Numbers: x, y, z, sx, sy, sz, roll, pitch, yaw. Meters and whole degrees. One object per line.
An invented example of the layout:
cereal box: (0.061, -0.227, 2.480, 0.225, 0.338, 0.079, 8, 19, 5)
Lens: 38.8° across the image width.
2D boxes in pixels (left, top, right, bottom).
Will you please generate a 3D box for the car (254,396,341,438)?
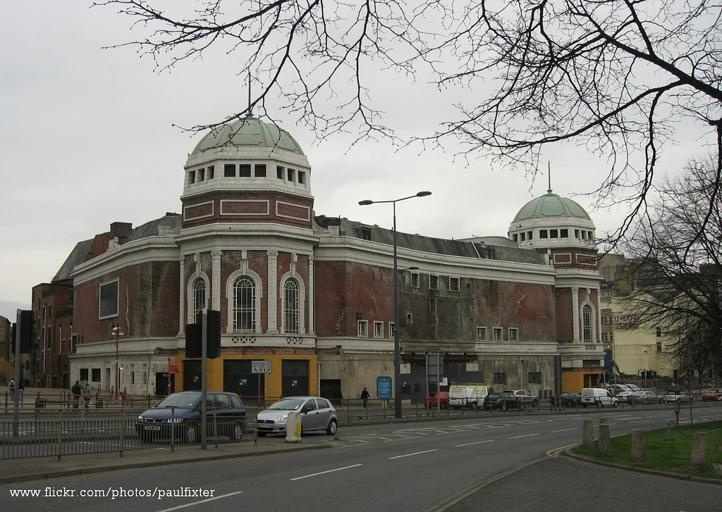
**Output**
car: (-3.139, 7.812, 49.740, 2.228, 1.881, 4.429, -5, -9, 37)

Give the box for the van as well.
van: (-6.938, 6.728, 42.214, 2.006, 1.930, 5.180, -3, -7, 20)
